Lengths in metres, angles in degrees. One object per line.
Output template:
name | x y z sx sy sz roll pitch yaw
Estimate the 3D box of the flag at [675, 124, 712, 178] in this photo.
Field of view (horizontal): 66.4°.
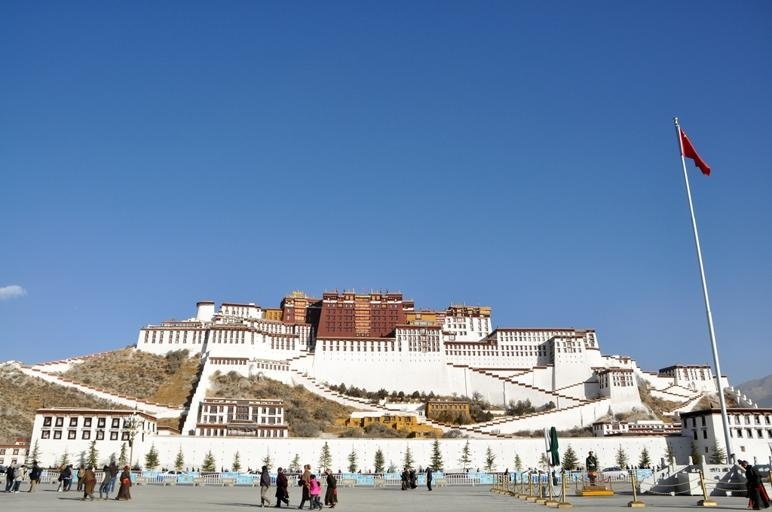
flag | 26.200 -9.323 50.815 1.577 0.517 6.544 -15 -49 31
